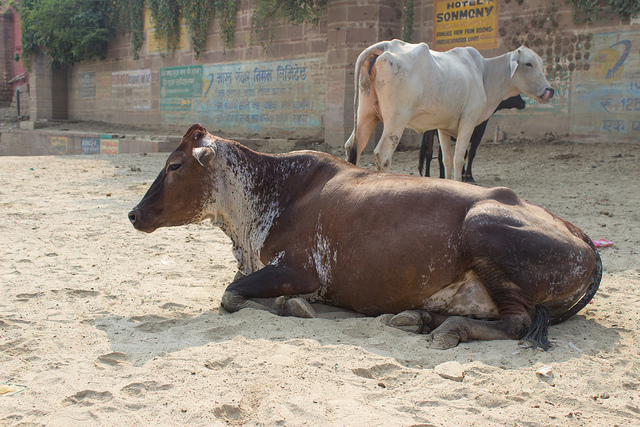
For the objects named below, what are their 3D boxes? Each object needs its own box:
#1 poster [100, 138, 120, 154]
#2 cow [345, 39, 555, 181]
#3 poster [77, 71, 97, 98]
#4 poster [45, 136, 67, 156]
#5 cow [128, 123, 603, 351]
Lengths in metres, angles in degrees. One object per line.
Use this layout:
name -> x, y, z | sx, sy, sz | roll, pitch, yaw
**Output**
poster -> -6.535, -2.132, 31.071 | 0.711, 0.529, 0.099 | 3, -4, 43
cow -> 2.624, -1.963, 19.352 | 4.439, 2.956, 1.300 | 1, 3, -26
poster -> -8.983, -5.065, 38.530 | 0.147, 1.000, 1.068 | 1, 4, -41
poster -> -9.187, -2.397, 34.592 | 0.208, 0.673, 1.631 | -9, 14, -37
cow -> 1.277, 0.632, 16.220 | 8.011, 3.634, 3.181 | 8, -5, 14
